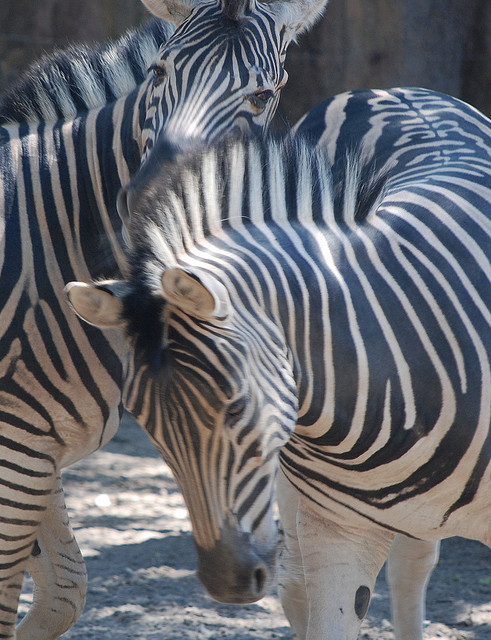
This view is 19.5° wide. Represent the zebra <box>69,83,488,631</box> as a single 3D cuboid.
[{"bbox_3d":[0.170,0.128,2.781,0.524,1.065,0.990,10,14,35],"label":"zebra"}]
